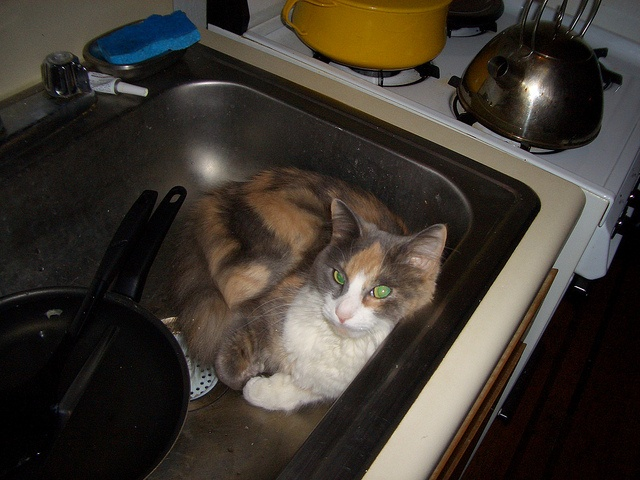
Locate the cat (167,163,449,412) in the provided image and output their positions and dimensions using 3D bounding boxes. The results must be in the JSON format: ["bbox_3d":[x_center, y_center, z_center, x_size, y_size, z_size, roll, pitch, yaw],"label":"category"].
[{"bbox_3d":[-0.030,0.073,1.203,0.515,0.371,0.512,12,58,-7],"label":"cat"}]
